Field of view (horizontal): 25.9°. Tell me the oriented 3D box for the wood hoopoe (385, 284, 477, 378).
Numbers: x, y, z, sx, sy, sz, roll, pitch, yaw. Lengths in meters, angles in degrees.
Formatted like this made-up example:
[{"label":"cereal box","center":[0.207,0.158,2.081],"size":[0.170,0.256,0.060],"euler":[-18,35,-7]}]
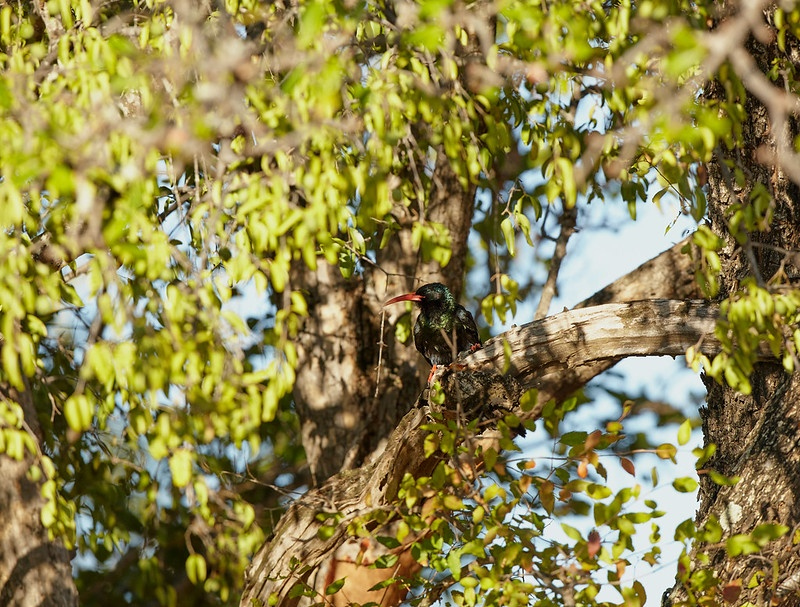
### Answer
[{"label":"wood hoopoe","center":[0.278,0.161,11.373],"size":[0.398,0.667,0.798],"euler":[-8,-1,22]}]
